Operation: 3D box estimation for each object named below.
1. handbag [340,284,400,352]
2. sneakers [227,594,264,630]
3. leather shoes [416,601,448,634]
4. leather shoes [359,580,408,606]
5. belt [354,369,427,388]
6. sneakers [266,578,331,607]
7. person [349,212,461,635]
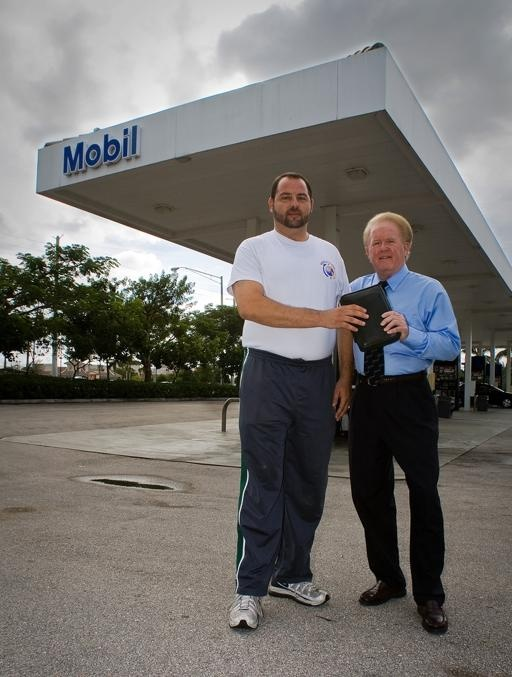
[{"bbox_3d":[0.478,-0.093,2.243,0.260,0.260,0.063,-25,-10,27],"label":"handbag"},{"bbox_3d":[-0.044,1.077,2.126,0.117,0.094,0.136,-1,-3,-4],"label":"sneakers"},{"bbox_3d":[0.698,1.100,2.112,0.056,0.057,0.149,-2,-9,5],"label":"leather shoes"},{"bbox_3d":[0.565,1.131,2.429,0.229,0.091,0.081,5,-11,-31],"label":"leather shoes"},{"bbox_3d":[0.565,0.178,2.402,0.170,0.068,0.336,2,-4,-41],"label":"belt"},{"bbox_3d":[0.185,1.132,2.406,0.246,0.109,0.098,0,-7,20],"label":"sneakers"},{"bbox_3d":[0.633,0.284,2.377,0.530,1.795,0.443,-3,-4,34],"label":"person"}]
